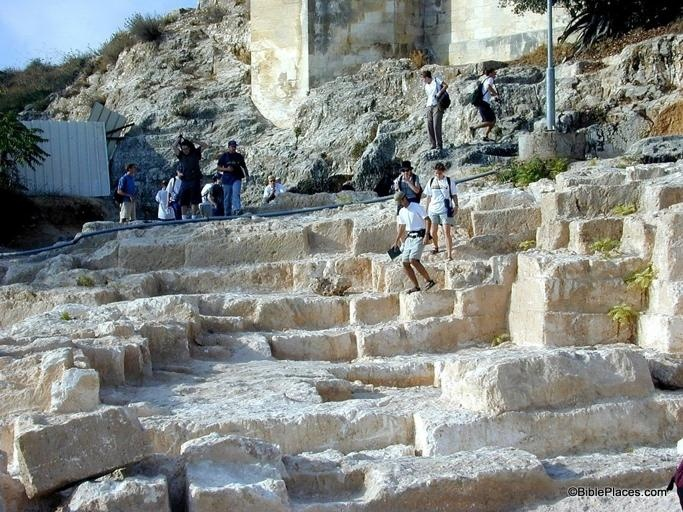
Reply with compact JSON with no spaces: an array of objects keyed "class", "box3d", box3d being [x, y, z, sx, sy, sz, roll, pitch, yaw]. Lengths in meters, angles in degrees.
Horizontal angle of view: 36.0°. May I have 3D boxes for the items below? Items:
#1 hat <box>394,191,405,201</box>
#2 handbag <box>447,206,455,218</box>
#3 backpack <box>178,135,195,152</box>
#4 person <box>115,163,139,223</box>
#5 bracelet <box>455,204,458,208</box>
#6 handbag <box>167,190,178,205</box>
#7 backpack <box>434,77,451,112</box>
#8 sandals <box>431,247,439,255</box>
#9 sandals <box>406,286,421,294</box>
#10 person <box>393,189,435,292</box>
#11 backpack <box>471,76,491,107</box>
[{"class":"hat","box3d":[0.931,-0.915,16.557,0.152,0.131,0.196,-6,7,3]},{"class":"handbag","box3d":[1.784,-0.692,17.169,0.145,0.265,0.124,-2,5,2]},{"class":"backpack","box3d":[-2.810,-2.009,19.287,0.229,0.407,0.146,0,11,16]},{"class":"person","box3d":[-4.157,-1.186,20.455,0.411,1.109,0.787,-6,6,-11]},{"class":"bracelet","box3d":[1.889,-0.790,17.229,0.023,0.049,0.046,0,-17,0]},{"class":"handbag","box3d":[-3.319,-1.113,20.780,0.179,0.333,0.112,-3,-11,24]},{"class":"backpack","box3d":[2.041,-3.072,20.479,0.399,0.513,0.275,-2,2,25]},{"class":"sandals","box3d":[1.553,-0.056,17.428,0.118,0.151,0.079,6,-4,24]},{"class":"sandals","box3d":[1.137,0.551,16.526,0.233,0.073,0.253,-7,7,5]},{"class":"person","box3d":[1.147,-0.246,16.827,0.611,1.578,1.001,-5,6,3]},{"class":"backpack","box3d":[2.769,-3.199,20.819,0.290,0.598,0.595,16,39,-2]}]
